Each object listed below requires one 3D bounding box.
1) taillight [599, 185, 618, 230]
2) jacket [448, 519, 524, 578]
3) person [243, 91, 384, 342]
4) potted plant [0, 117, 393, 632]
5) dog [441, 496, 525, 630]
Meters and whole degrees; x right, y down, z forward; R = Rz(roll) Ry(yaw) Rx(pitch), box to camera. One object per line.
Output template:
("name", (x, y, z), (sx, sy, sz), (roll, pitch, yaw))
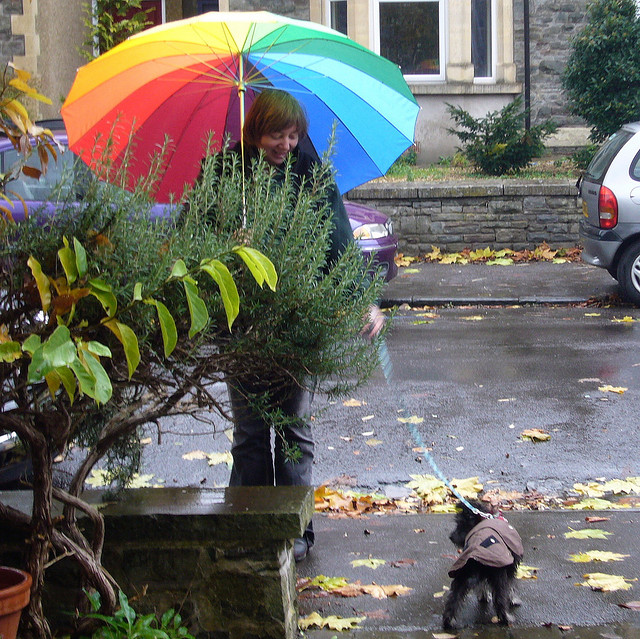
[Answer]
("taillight", (3.043, -1.197, 11.088), (0.057, 0.457, 0.234), (-6, 10, -33))
("jacket", (0.700, 0.962, 4.391), (0.247, 0.203, 0.305), (5, 12, 34))
("person", (-0.105, -0.627, 4.402), (0.418, 1.257, 0.371), (0, -21, -6))
("potted plant", (-0.567, 0.262, 3.894), (1.284, 2.014, 1.528), (5, 11, 34))
("dog", (0.689, 1.038, 4.482), (0.344, 0.510, 0.452), (0, 10, 12))
